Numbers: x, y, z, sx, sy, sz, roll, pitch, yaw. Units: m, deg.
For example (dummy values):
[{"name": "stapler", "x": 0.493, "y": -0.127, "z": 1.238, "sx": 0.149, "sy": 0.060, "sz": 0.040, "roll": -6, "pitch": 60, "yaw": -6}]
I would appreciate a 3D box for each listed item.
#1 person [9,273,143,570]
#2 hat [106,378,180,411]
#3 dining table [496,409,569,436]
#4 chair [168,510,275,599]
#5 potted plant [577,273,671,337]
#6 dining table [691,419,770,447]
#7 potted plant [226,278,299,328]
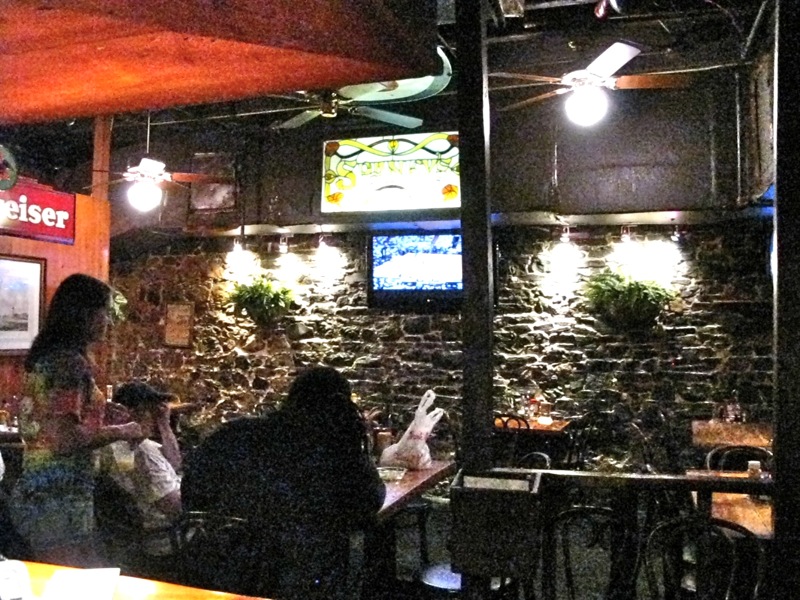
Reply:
[{"name": "person", "x": -1.487, "y": 0.552, "z": 3.496, "sx": 0.478, "sy": 1.346, "sz": 0.266, "roll": 2, "pitch": -3, "yaw": -17}, {"name": "hat", "x": -1.450, "y": 0.534, "z": 4.286, "sx": 0.299, "sy": 0.121, "sz": 0.210, "roll": 7, "pitch": 7, "yaw": -9}, {"name": "dining table", "x": 1.314, "y": 1.225, "z": 7.684, "sx": 0.755, "sy": 0.238, "sz": 1.182, "roll": 0, "pitch": -2, "yaw": 11}, {"name": "chair", "x": -0.857, "y": 1.251, "z": 3.803, "sx": 0.546, "sy": 0.311, "sz": 0.283, "roll": 1, "pitch": 3, "yaw": 25}, {"name": "potted plant", "x": 2.348, "y": -0.021, "z": 8.170, "sx": 0.764, "sy": 0.378, "sz": 0.711, "roll": 21, "pitch": 4, "yaw": -6}, {"name": "dining table", "x": 2.790, "y": 1.150, "z": 6.532, "sx": 0.610, "sy": 0.160, "sz": 0.978, "roll": 0, "pitch": -3, "yaw": 22}, {"name": "potted plant", "x": -1.736, "y": 0.027, "z": 9.585, "sx": 0.883, "sy": 0.586, "sz": 0.322, "roll": 0, "pitch": -3, "yaw": 28}]
